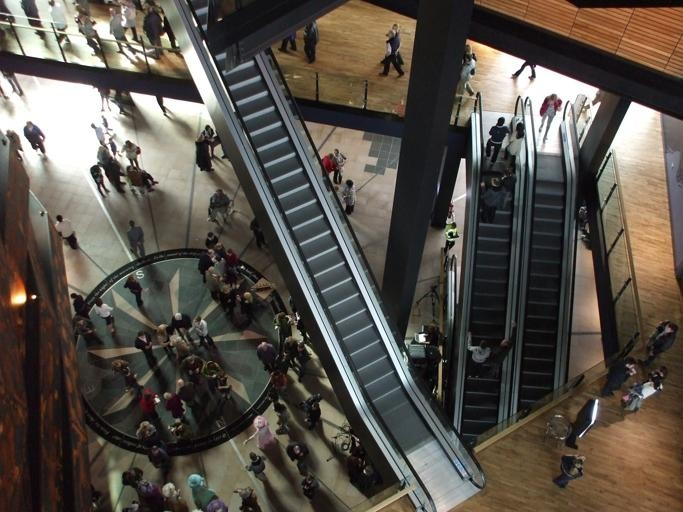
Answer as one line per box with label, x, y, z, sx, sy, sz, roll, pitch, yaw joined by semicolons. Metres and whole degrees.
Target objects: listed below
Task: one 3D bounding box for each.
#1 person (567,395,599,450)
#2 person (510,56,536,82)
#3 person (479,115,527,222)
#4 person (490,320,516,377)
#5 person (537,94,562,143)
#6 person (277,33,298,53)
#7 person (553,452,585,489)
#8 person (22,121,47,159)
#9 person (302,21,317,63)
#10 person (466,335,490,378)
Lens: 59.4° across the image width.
person;5.448;3.660;13.495;0.895;1.170;0.512;-3;14;-1
person;6.152;-6.250;20.173;0.785;0.647;0.845;2;15;16
person;4.479;-2.407;17.021;0.980;3.660;1.370;8;-25;5
person;4.515;2.611;16.674;0.412;1.396;1.487;33;5;15
person;6.188;-4.215;17.763;0.519;1.472;0.536;12;48;7
person;-1.734;-7.086;19.903;0.683;0.599;0.467;-8;15;-19
person;4.909;4.632;12.812;0.486;0.928;0.284;25;29;15
person;-10.253;-3.940;20.043;0.556;1.168;1.208;-9;16;-25
person;-0.981;-6.878;19.262;0.471;1.209;1.071;-3;14;-2
person;3.612;2.705;16.148;0.518;1.500;0.510;2;43;-4
